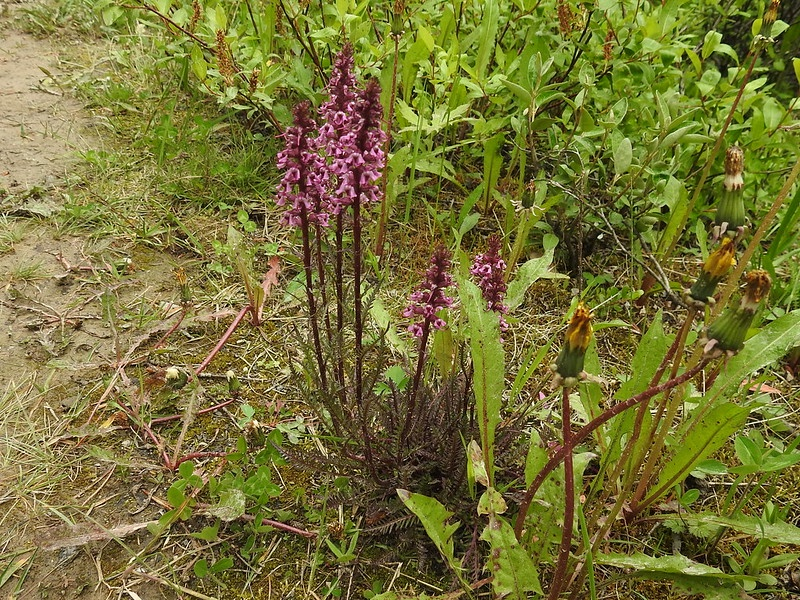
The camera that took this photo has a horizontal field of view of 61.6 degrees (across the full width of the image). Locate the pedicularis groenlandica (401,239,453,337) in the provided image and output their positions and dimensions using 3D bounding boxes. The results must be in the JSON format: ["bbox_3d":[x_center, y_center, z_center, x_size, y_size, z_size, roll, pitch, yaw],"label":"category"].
[{"bbox_3d":[0.130,-0.039,3.288,0.231,0.549,0.227,1,63,-7],"label":"pedicularis groenlandica"}]
